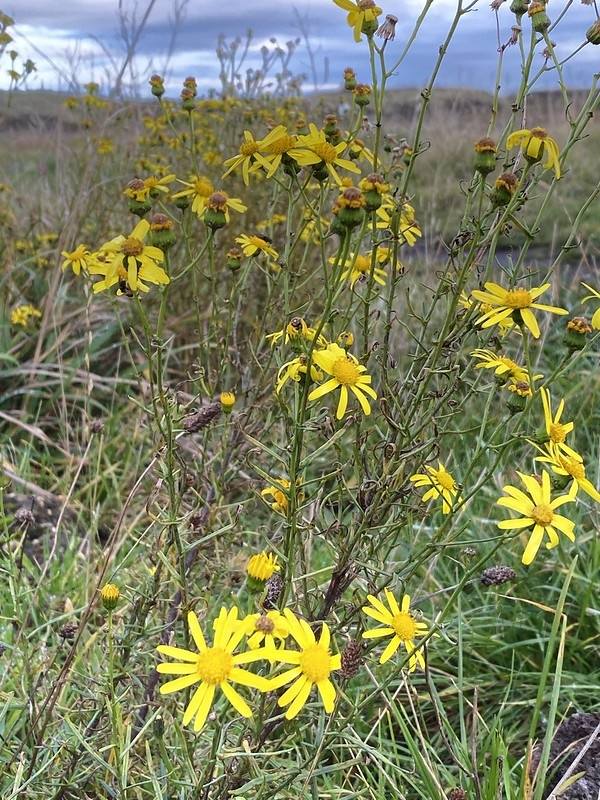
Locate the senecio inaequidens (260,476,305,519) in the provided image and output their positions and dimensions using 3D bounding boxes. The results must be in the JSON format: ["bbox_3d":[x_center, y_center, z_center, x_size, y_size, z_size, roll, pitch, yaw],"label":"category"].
[{"bbox_3d":[-0.050,0.230,1.977,0.133,0.100,0.137,3,-10,-16],"label":"senecio inaequidens"}]

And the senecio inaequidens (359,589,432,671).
[{"bbox_3d":[0.209,0.533,1.850,0.192,0.065,0.217,15,59,-14],"label":"senecio inaequidens"}]

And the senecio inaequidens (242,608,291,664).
[{"bbox_3d":[-0.069,0.451,1.543,0.078,0.047,0.086,7,13,-15],"label":"senecio inaequidens"}]
